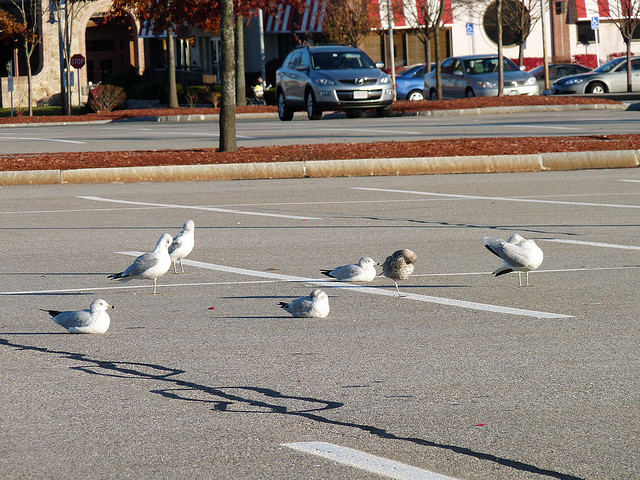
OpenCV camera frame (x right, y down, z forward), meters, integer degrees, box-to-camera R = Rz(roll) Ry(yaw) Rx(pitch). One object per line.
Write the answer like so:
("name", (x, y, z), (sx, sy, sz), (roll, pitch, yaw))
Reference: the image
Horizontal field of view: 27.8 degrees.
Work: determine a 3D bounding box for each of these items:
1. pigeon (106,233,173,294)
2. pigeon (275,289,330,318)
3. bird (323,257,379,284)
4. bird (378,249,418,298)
("pigeon", (-1.836, 0.203, 12.931), (0.745, 0.565, 0.336), (-2, 1, -7))
("pigeon", (-0.173, 0.620, 12.266), (0.431, 0.277, 0.236), (3, 3, 15))
("bird", (0.311, 0.339, 13.249), (0.477, 0.274, 0.282), (4, 1, 5))
("bird", (0.850, 0.295, 12.745), (0.231, 0.340, 0.452), (19, 14, 29))
